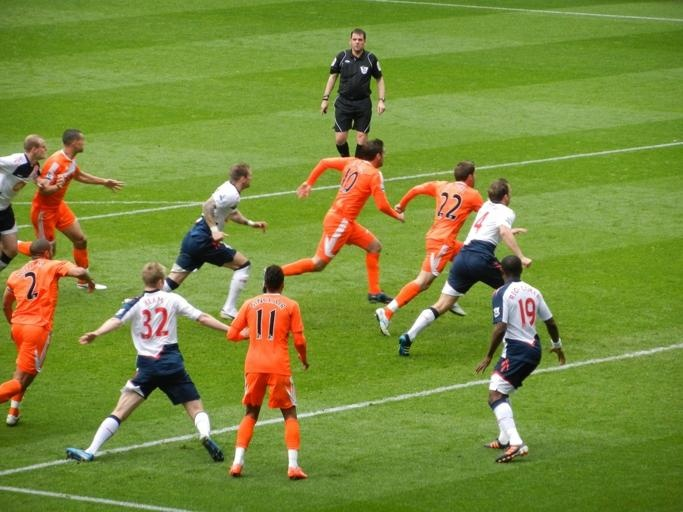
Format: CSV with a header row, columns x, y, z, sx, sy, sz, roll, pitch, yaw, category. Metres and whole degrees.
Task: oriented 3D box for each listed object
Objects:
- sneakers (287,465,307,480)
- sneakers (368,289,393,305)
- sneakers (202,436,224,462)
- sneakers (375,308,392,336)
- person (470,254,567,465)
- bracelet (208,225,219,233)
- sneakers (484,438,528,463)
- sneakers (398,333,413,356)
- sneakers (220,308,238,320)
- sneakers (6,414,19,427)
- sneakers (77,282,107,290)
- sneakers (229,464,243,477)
x,y,z,sx,sy,sz,roll,pitch,yaw,category
-0.569,2.667,17.295,0.135,0.111,0.257,4,2,37,sneakers
0.579,0.637,21.842,0.420,0.169,0.151,2,8,-5,sneakers
-1.655,2.437,17.731,0.359,0.130,0.157,45,7,5,sneakers
0.611,0.981,20.903,0.246,0.450,0.152,-15,27,4,sneakers
2.243,1.286,17.925,0.951,2.486,1.268,10,11,7,person
-1.907,-0.413,20.691,0.094,0.080,0.088,12,6,1,bracelet
2.080,2.450,17.703,0.561,0.233,0.196,-3,6,41,sneakers
0.918,1.252,20.354,0.288,0.349,0.127,7,0,10,sneakers
-1.637,0.860,21.101,0.410,0.124,0.157,-2,-24,-2,sneakers
-4.375,2.151,18.463,0.093,0.100,0.234,4,14,4,sneakers
-4.010,0.468,22.227,0.492,0.165,0.163,-1,7,7,sneakers
-1.309,2.641,17.271,0.099,0.090,0.211,1,6,-10,sneakers
